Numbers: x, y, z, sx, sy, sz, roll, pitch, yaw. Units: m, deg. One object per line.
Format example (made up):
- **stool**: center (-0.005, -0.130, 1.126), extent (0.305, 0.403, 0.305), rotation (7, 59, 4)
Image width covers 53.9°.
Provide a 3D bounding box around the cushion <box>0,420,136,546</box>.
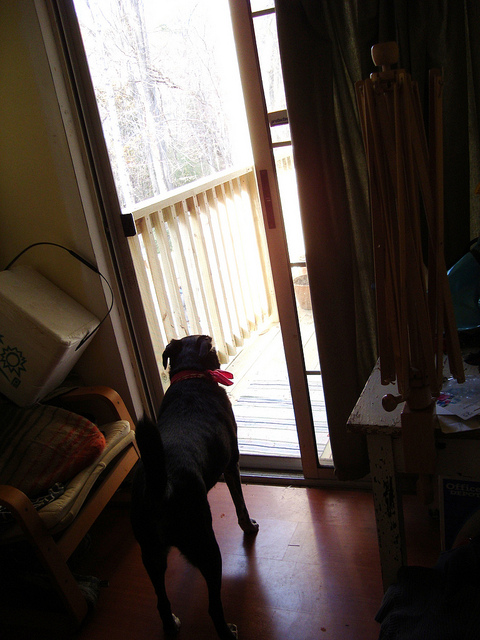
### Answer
- **cushion**: center (-0.574, 0.568, 1.753), extent (0.142, 0.136, 0.598), rotation (-5, 14, 15)
